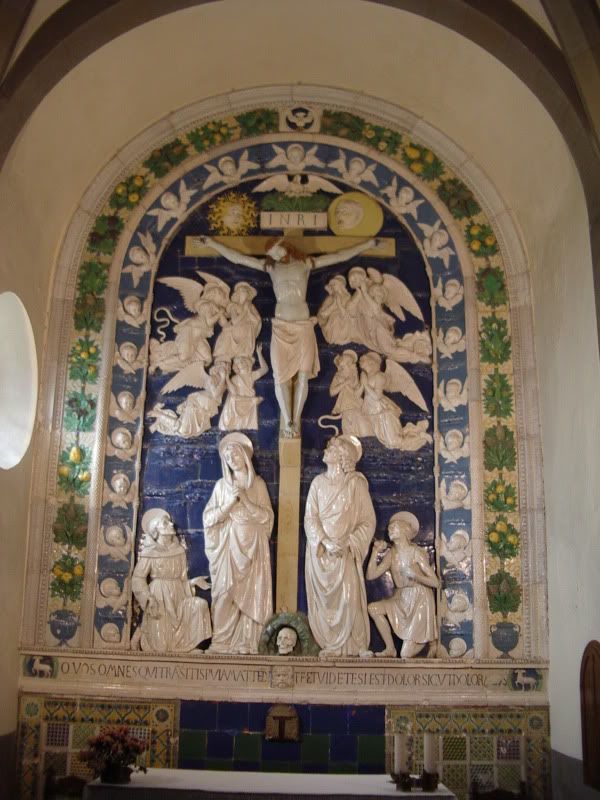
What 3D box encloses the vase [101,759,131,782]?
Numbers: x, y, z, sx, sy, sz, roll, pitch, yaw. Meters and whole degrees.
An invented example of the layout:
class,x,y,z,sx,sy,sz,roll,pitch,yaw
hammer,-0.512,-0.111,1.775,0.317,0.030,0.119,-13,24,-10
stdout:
class,x,y,z,sx,sy,sz,roll,pitch,yaw
vase,-1.174,2.383,7.243,0.153,0.087,0.147,5,-9,-31
